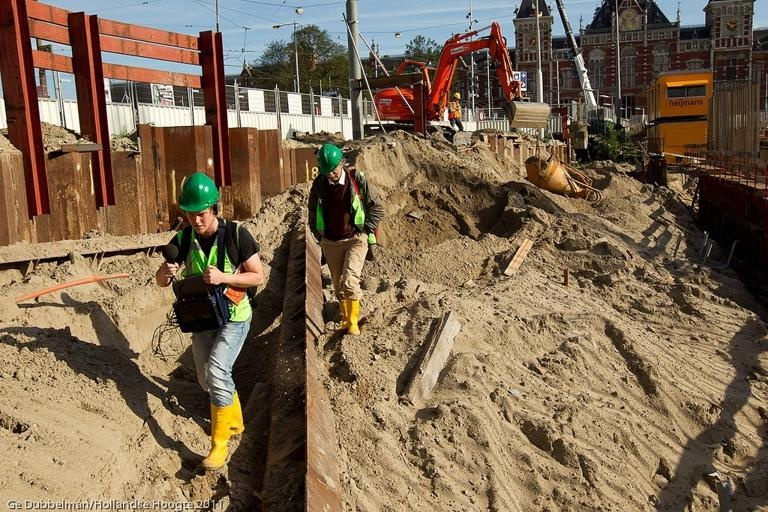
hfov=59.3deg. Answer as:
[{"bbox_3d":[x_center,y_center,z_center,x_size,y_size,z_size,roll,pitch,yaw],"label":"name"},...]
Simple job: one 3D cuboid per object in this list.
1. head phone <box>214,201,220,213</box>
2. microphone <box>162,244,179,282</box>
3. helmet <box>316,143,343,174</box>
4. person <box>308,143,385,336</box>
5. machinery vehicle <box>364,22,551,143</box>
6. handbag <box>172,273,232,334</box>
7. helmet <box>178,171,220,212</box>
[{"bbox_3d":[-1.805,-0.542,7.353,0.066,0.097,0.102,19,22,-14],"label":"head phone"},{"bbox_3d":[-2.292,0.056,7.329,0.167,0.436,0.191,-8,15,-19],"label":"microphone"},{"bbox_3d":[-0.711,-1.353,9.026,0.245,0.429,0.213,0,-26,9],"label":"helmet"},{"bbox_3d":[-0.504,-0.275,9.245,1.010,2.525,0.668,-5,14,-6],"label":"person"},{"bbox_3d":[1.893,-4.834,19.054,4.926,3.307,1.870,3,6,39],"label":"machinery vehicle"},{"bbox_3d":[-2.028,0.451,7.350,0.461,0.720,0.406,-5,23,3],"label":"handbag"},{"bbox_3d":[-2.001,-0.733,7.302,0.386,0.352,0.565,4,16,-7],"label":"helmet"}]
